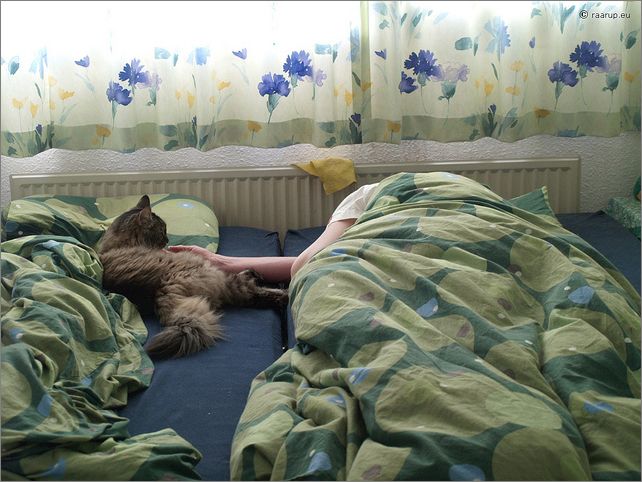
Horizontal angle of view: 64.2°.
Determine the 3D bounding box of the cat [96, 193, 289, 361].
[{"bbox_3d":[-0.460,0.056,1.721,0.518,0.370,0.649,-13,17,-40],"label":"cat"}]
